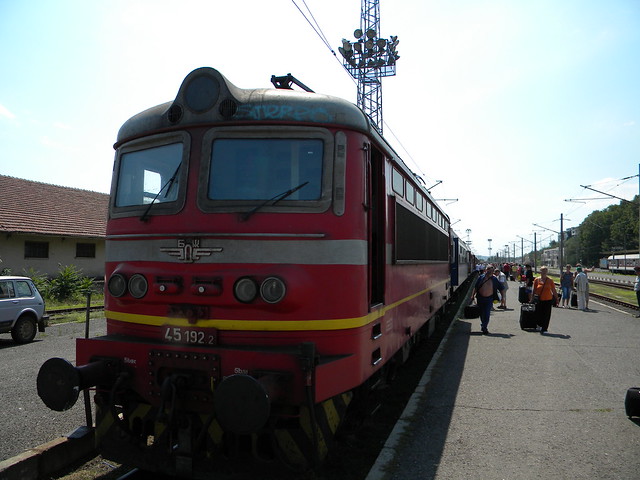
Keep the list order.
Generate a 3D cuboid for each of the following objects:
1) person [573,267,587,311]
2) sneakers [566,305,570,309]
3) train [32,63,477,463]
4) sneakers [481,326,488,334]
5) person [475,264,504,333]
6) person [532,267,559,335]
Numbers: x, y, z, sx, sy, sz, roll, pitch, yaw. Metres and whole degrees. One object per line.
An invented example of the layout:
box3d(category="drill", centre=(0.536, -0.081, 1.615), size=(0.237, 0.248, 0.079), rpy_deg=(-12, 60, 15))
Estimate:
box3d(category="person", centre=(10.306, 1.926, 17.647), size=(0.378, 1.636, 0.933), rpy_deg=(-2, -3, 27))
box3d(category="sneakers", centre=(10.234, 2.774, 18.523), size=(0.127, 0.186, 0.407), rpy_deg=(-6, -11, 27))
box3d(category="train", centre=(-0.723, 0.042, 5.227), size=(4.468, 4.522, 2.231), rpy_deg=(1, -3, -30))
box3d(category="sneakers", centre=(4.606, 2.492, 12.512), size=(0.165, 0.245, 0.259), rpy_deg=(-2, -3, 22))
box3d(category="person", centre=(4.654, 1.654, 12.548), size=(0.798, 1.947, 0.532), rpy_deg=(8, -18, 21))
box3d(category="person", centre=(6.273, 1.651, 12.565), size=(0.530, 1.830, 1.306), rpy_deg=(-2, -3, 27))
